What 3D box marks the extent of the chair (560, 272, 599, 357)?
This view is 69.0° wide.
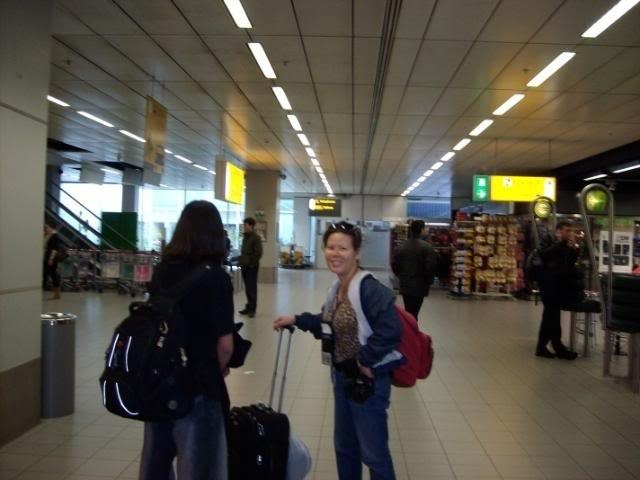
[{"bbox_3d":[3.521,0.872,6.169,0.411,0.710,0.352,14,8,17],"label":"chair"}]

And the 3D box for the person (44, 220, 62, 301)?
[{"bbox_3d":[-6.501,0.448,11.285,0.378,1.594,4.077,0,0,-29],"label":"person"}]

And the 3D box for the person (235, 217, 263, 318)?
[{"bbox_3d":[-1.361,0.492,9.130,0.407,1.898,0.857,0,0,-10],"label":"person"}]

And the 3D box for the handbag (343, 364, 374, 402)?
[{"bbox_3d":[0.238,0.818,2.741,0.148,0.250,0.062,-32,5,16],"label":"handbag"}]

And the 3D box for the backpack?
[{"bbox_3d":[-0.908,0.615,2.421,0.423,0.627,0.175,0,0,14],"label":"backpack"}]
